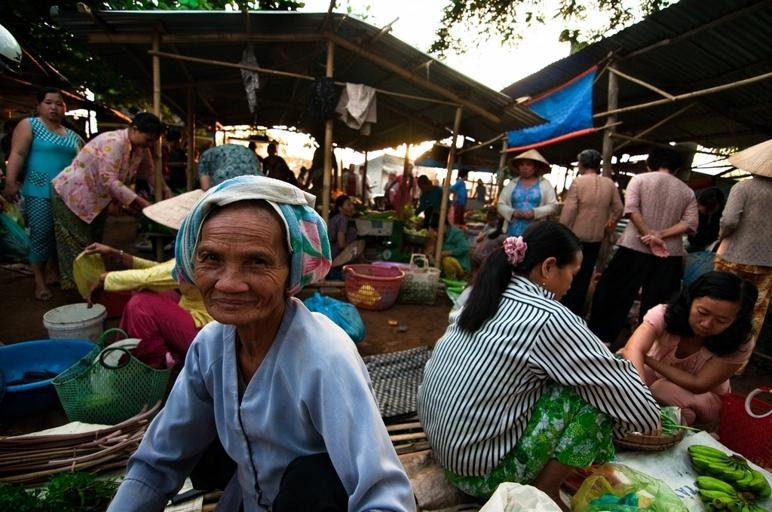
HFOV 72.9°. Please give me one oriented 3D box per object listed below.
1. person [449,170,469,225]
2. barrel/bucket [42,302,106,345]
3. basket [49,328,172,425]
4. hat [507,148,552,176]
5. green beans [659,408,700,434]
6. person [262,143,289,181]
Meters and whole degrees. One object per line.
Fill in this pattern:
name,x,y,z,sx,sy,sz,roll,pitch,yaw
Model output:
person,1.773,-1.406,12.736,0.405,1.345,1.162,7,9,7
barrel/bucket,-3.098,0.648,5.214,0.449,0.328,0.471,2,-2,0
basket,-2.474,1.062,4.755,0.977,0.634,0.758,-1,3,-31
hat,2.109,-1.402,7.438,0.498,0.224,0.492,16,-23,7
green beans,2.496,1.420,4.510,0.285,0.115,0.301,-3,2,2
person,-2.349,-2.034,11.204,0.576,0.750,0.599,4,10,-11
